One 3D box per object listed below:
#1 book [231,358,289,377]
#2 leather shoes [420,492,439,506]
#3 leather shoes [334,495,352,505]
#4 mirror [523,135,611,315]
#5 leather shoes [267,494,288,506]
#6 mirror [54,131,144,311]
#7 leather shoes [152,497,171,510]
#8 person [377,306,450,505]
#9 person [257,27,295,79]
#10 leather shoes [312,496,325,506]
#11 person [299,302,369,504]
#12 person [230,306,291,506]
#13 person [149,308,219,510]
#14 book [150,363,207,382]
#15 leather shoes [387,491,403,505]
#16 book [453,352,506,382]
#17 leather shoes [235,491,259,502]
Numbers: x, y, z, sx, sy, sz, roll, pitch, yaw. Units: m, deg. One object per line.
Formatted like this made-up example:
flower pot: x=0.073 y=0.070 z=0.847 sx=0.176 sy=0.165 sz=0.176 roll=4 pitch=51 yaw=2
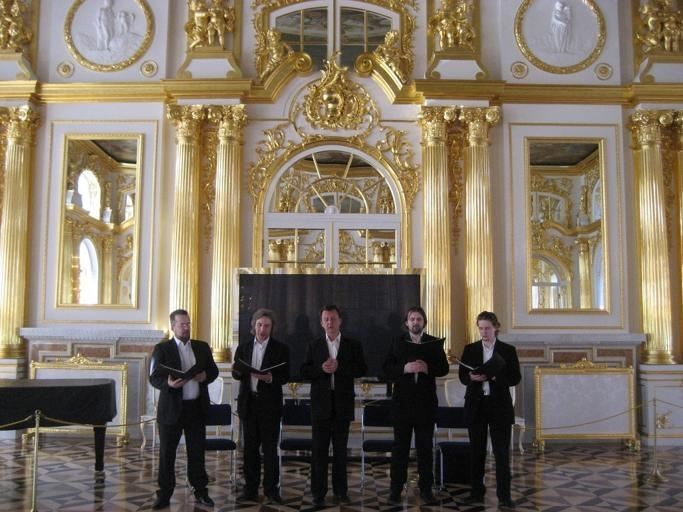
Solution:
book: x=-0.988 y=1.335 z=9.981 sx=0.391 sy=0.145 sz=0.234 roll=-3 pitch=-24 yaw=-12
leather shoes: x=1.064 y=2.888 z=10.087 sx=0.226 sy=0.132 sz=0.247 roll=1 pitch=4 yaw=5
leather shoes: x=0.002 y=2.913 z=10.053 sx=0.095 sy=0.063 sz=0.165 roll=3 pitch=-11 yaw=-29
mirror: x=3.506 y=-0.468 z=12.933 sx=1.203 sy=2.605 sz=0.589 roll=1 pitch=4 yaw=10
leather shoes: x=-0.780 y=2.873 z=9.998 sx=0.232 sy=0.097 sz=0.221 roll=9 pitch=-6 yaw=21
mirror: x=-3.756 y=-0.541 z=13.025 sx=1.243 sy=2.599 sz=0.416 roll=1 pitch=4 yaw=3
leather shoes: x=-2.127 y=2.877 z=9.831 sx=0.202 sy=0.143 sz=0.139 roll=-1 pitch=4 yaw=-14
person: x=0.891 y=1.786 z=10.179 sx=0.750 sy=2.290 sz=0.465 roll=1 pitch=4 yaw=3
person: x=-1.081 y=-3.142 z=13.185 sx=0.558 sy=0.789 sz=0.213 roll=0 pitch=4 yaw=-4
leather shoes: x=-0.273 y=2.905 z=9.933 sx=0.108 sy=0.103 sz=0.086 roll=1 pitch=-9 yaw=11
person: x=-0.102 y=1.764 z=10.117 sx=0.731 sy=2.321 sz=0.499 roll=-1 pitch=4 yaw=-14
person: x=-0.977 y=1.787 z=10.126 sx=0.677 sy=2.237 sz=0.478 roll=0 pitch=4 yaw=-5
person: x=-1.886 y=1.969 z=9.978 sx=0.772 sy=1.933 sz=0.489 roll=-1 pitch=4 yaw=-14
book: x=-1.960 y=1.376 z=9.879 sx=0.616 sy=0.208 sz=0.202 roll=0 pitch=4 yaw=-2
leather shoes: x=0.648 y=2.870 z=10.123 sx=0.164 sy=0.138 sz=0.303 roll=1 pitch=4 yaw=3
book: x=1.710 y=1.321 z=9.979 sx=0.418 sy=0.158 sz=0.298 roll=9 pitch=-17 yaw=48
leather shoes: x=-1.124 y=2.879 z=10.044 sx=0.292 sy=0.209 sz=0.108 roll=6 pitch=-21 yaw=-7
